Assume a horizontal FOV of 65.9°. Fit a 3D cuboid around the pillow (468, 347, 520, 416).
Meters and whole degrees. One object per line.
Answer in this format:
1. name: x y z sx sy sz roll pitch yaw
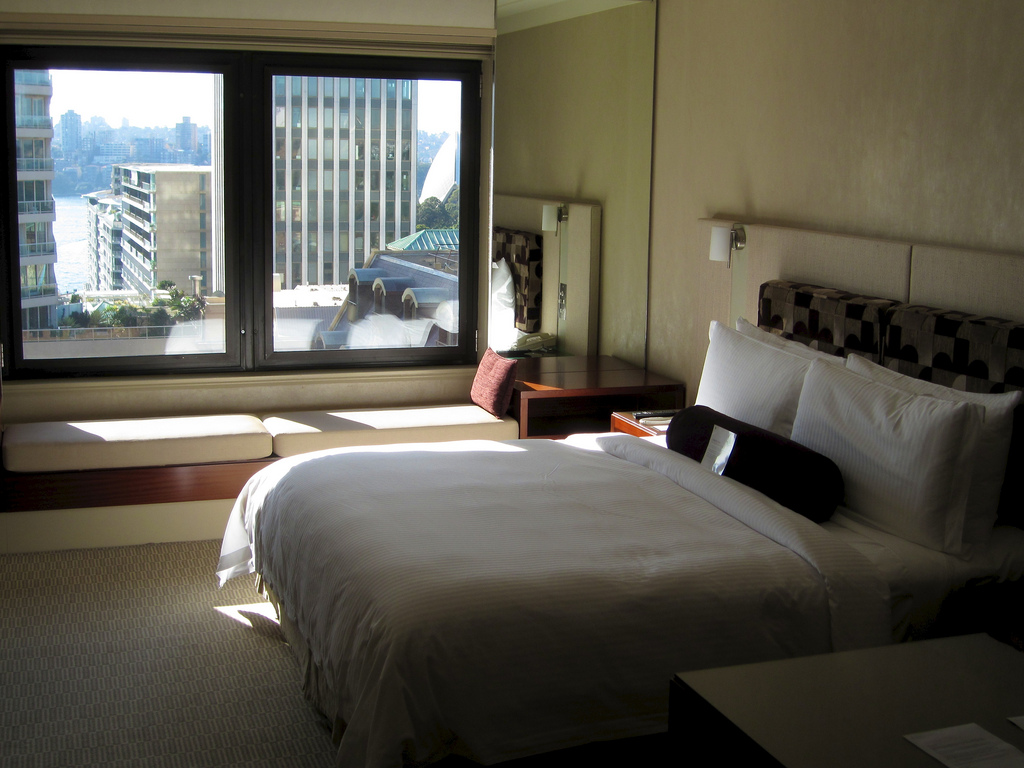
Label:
1. pillow: -0.100 -0.004 4.789 0.130 0.264 0.345 30 -4 -22
